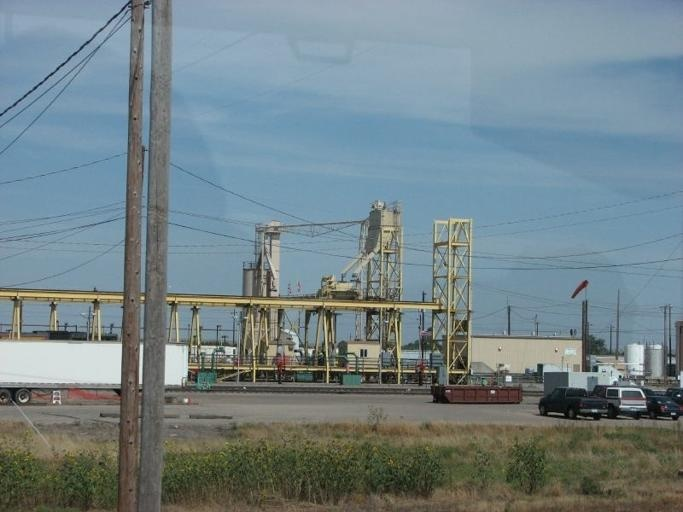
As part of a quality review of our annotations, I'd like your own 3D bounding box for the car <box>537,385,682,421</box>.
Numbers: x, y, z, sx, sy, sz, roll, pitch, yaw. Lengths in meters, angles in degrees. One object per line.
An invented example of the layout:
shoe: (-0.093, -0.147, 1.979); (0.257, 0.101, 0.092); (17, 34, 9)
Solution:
car: (14.932, 8.124, 92.512); (7.211, 2.014, 3.210); (2, -8, -3)
